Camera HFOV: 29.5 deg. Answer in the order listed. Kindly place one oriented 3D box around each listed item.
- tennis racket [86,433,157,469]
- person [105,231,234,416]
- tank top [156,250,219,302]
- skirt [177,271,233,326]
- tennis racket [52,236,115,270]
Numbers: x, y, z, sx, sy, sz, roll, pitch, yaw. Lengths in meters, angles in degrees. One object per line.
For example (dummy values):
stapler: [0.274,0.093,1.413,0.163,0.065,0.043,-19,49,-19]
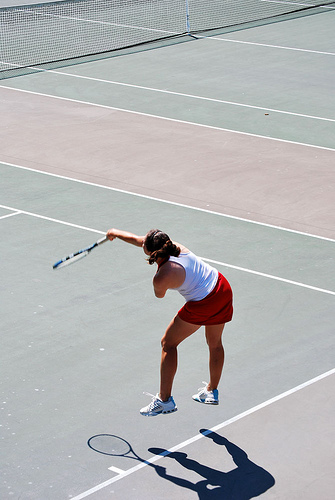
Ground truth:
tennis racket: [-0.336,1.374,4.369,0.442,0.019,0.161,8,37,38]
person: [0.118,0.536,4.719,0.698,1.468,0.770,-2,16,-3]
tank top: [0.129,0.205,4.597,0.507,0.331,0.265,25,-38,-24]
skirt: [0.276,0.372,4.559,0.411,0.308,0.242,-12,29,-8]
tennis racket: [-0.955,0.058,6.276,0.356,0.049,1.159,-4,-7,-33]
